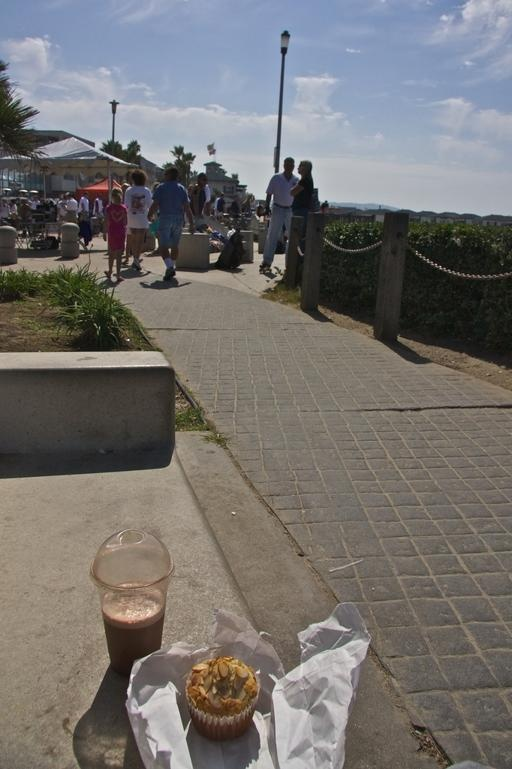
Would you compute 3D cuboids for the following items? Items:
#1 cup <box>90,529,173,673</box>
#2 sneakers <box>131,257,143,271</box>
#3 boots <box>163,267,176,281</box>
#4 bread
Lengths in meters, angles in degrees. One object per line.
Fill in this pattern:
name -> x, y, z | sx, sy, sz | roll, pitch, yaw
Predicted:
cup -> -0.364, 0.641, 1.571 | 0.222, 0.393, 0.193 | 3, 14, -11
sneakers -> -2.514, -2.553, 11.603 | 0.171, 0.239, 0.541 | 0, 29, -4
boots -> -1.665, -2.096, 10.412 | 0.229, 0.273, 0.444 | 3, 15, -13
bread -> -0.075, 0.712, 1.270 | 0.153, 0.143, 0.162 | 0, -9, -3
